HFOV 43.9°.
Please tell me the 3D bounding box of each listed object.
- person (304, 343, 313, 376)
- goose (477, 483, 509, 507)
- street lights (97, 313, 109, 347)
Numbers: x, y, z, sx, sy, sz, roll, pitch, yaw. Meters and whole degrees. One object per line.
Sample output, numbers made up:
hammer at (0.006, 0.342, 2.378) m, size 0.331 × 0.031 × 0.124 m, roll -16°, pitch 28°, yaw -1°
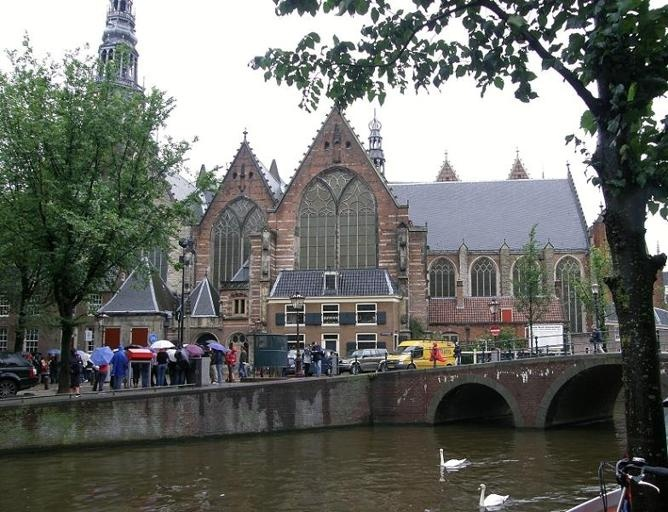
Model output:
person at (-1.236, 4.903, 38.860) m, size 0.445 × 1.275 × 0.911 m, roll 3°, pitch 3°, yaw 11°
goose at (4.239, 6.383, 22.185) m, size 0.926 × 0.622 × 0.370 m, roll 20°, pitch -40°, yaw -30°
street lights at (-14.768, 4.577, 52.801) m, size 0.847 × 1.981 × 0.647 m, roll 3°, pitch 3°, yaw 10°
